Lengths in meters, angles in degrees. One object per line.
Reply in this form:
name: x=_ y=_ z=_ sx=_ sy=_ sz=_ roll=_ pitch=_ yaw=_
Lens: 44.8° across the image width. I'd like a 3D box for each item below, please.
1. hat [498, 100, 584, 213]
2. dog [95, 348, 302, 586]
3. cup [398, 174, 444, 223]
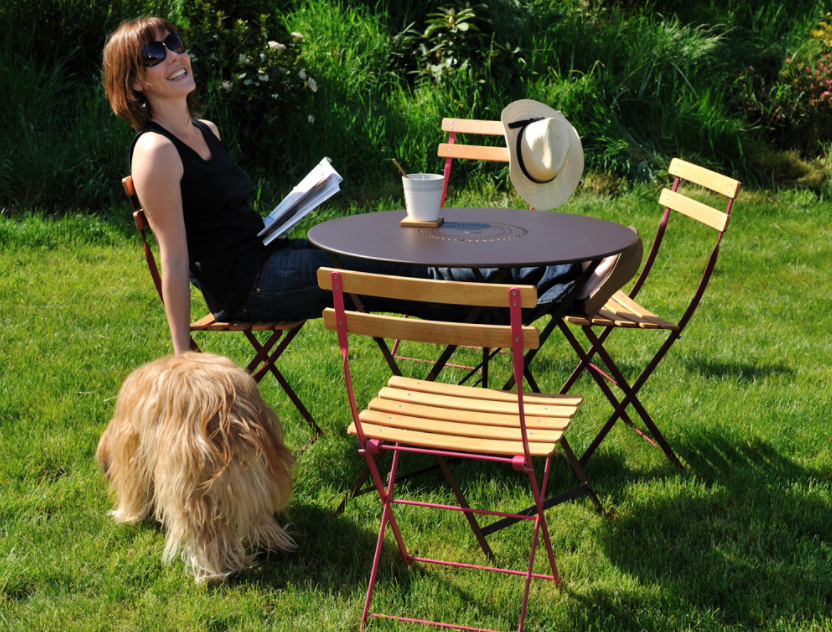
hat: x=0.667 y=-0.853 z=5.470 sx=0.418 sy=0.608 sz=0.191 roll=-22 pitch=13 yaw=-24
dog: x=-1.050 y=0.687 z=4.995 sx=1.016 sy=0.906 sz=0.539 roll=18 pitch=22 yaw=23
cup: x=0.026 y=-0.632 z=5.382 sx=0.208 sy=0.289 sz=0.179 roll=8 pitch=20 yaw=1
